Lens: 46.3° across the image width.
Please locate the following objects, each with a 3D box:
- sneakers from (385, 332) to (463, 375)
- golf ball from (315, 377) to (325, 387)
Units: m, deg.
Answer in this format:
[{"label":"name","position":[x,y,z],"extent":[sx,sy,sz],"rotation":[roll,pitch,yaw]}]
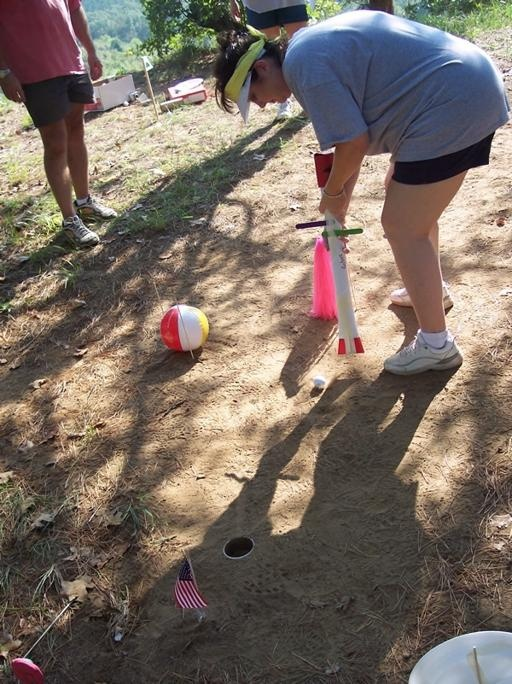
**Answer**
[{"label":"sneakers","position":[0.740,0.029,2.824],"extent":[0.419,0.201,0.134],"rotation":[-6,37,22]},{"label":"golf ball","position":[0.312,0.194,2.948],"extent":[0.056,0.038,0.046],"rotation":[-16,28,1]}]
